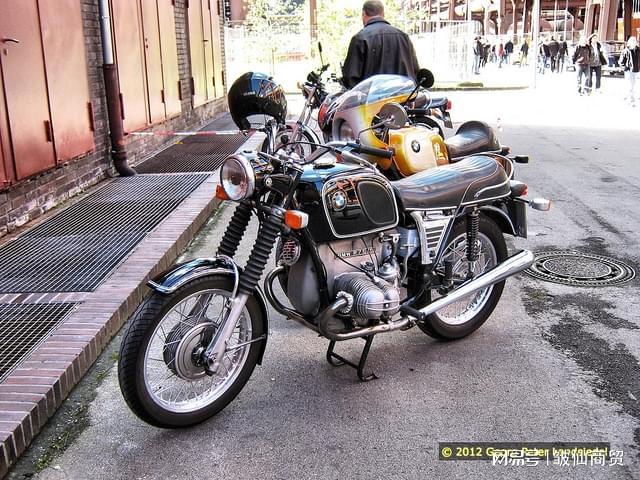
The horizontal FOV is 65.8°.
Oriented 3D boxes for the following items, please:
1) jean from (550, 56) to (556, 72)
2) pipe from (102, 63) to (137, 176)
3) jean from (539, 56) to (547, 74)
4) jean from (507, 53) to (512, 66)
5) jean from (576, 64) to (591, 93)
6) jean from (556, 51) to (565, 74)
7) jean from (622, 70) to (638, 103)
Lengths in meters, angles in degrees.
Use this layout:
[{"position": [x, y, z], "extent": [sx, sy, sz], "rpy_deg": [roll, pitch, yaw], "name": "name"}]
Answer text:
[{"position": [17.268, -13.143, 36.835], "extent": [0.342, 1.043, 1.897], "rpy_deg": [8, 23, 23], "name": "jean"}, {"position": [-3.266, -1.900, 7.904], "extent": [0.285, 1.759, 0.324], "rpy_deg": [-1, 7, 28], "name": "pipe"}, {"position": [17.490, -13.833, 39.087], "extent": [0.394, 1.081, 2.906], "rpy_deg": [7, 23, 20], "name": "jean"}, {"position": [18.385, -17.747, 48.318], "extent": [0.418, 1.544, 0.595], "rpy_deg": [2, 11, 11], "name": "jean"}, {"position": [11.604, -7.130, 21.864], "extent": [0.559, 1.195, 0.874], "rpy_deg": [10, 23, 26], "name": "jean"}, {"position": [17.550, -13.079, 36.404], "extent": [0.518, 1.543, 2.039], "rpy_deg": [9, 23, 24], "name": "jean"}, {"position": [11.947, -5.985, 19.106], "extent": [0.437, 1.166, 2.938], "rpy_deg": [11, 24, 29], "name": "jean"}]
